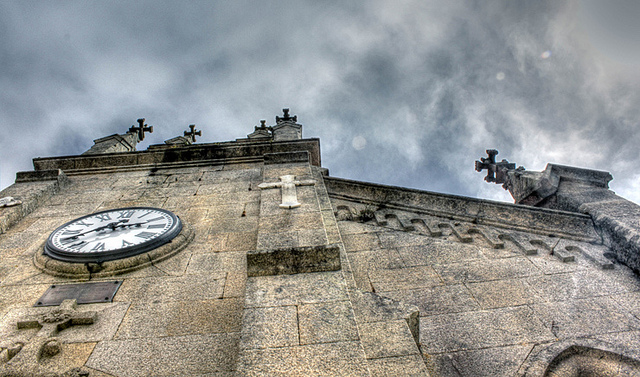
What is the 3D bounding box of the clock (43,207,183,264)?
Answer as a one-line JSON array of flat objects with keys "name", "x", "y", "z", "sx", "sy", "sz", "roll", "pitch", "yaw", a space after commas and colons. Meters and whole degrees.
[{"name": "clock", "x": -4.164, "y": 1.012, "z": 8.272, "sx": 2.456, "sy": 2.199, "sz": 0.232, "roll": -3, "pitch": -71, "yaw": -9}]
